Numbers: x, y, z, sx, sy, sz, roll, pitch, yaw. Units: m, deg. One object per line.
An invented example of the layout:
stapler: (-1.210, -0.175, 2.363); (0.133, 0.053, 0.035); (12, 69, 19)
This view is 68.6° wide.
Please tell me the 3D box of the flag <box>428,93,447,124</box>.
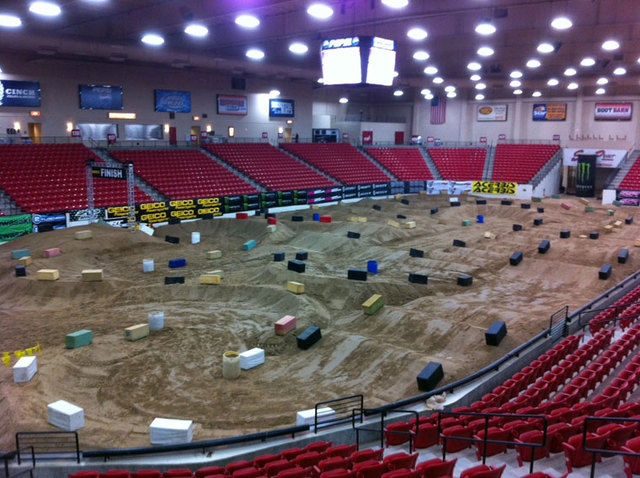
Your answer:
flag: (13.042, -14.477, 51.943); (1.462, 3.128, 1.005); (1, 6, 2)
